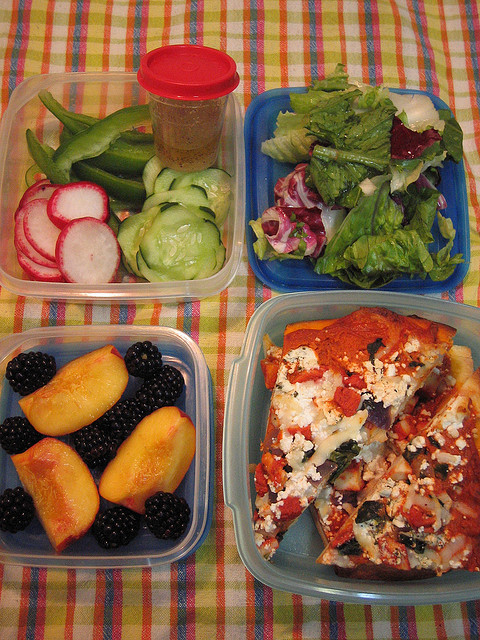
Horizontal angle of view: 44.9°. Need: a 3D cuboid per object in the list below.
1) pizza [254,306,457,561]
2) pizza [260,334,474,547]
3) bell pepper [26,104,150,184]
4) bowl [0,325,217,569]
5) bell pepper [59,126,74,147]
[{"bbox_3d":[0.199,0.249,1.429,0.520,0.485,0.513,1,56,2],"label":"pizza"},{"bbox_3d":[0.247,0.272,1.502,0.545,0.449,0.570,9,61,5],"label":"pizza"},{"bbox_3d":[-0.380,-0.451,1.513,0.324,0.079,0.158,-14,66,-9],"label":"bell pepper"},{"bbox_3d":[-0.317,0.281,1.335,0.512,0.199,0.528,1,65,-2],"label":"bowl"},{"bbox_3d":[-0.466,-0.490,1.546,0.042,0.021,0.058,14,89,14],"label":"bell pepper"}]
